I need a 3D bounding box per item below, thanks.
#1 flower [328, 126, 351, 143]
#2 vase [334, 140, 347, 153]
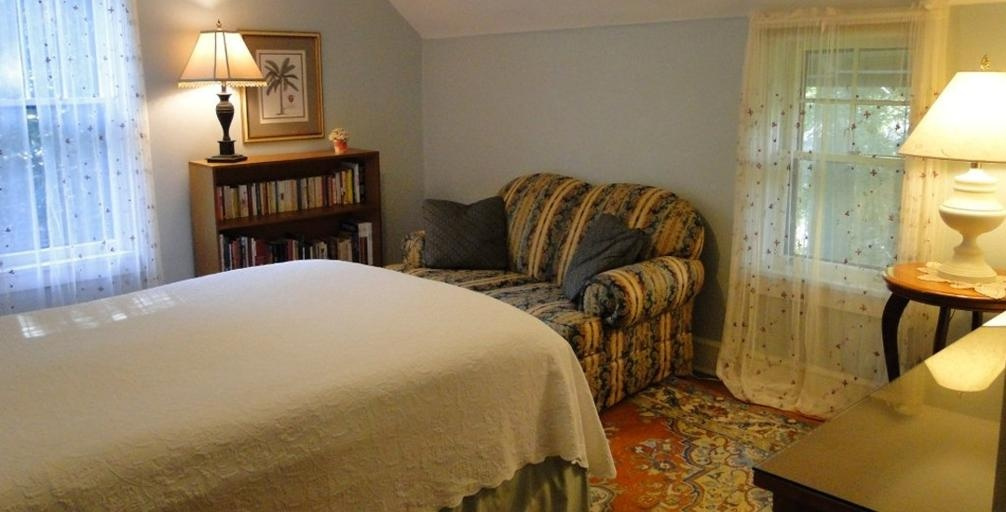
[{"bbox_3d":[-1.536,-1.142,6.496,0.204,0.131,0.195,-7,12,-28],"label":"flower"},{"bbox_3d":[-1.503,-1.030,6.478,0.122,0.109,0.120,8,18,30],"label":"vase"}]
